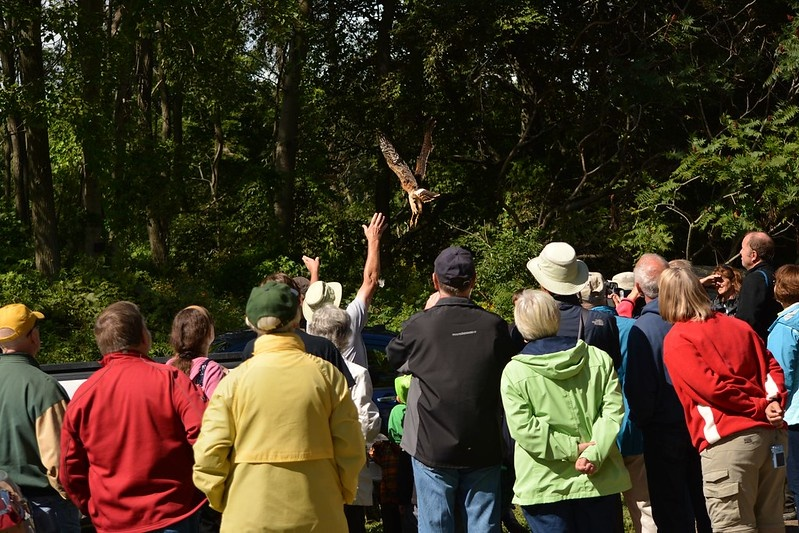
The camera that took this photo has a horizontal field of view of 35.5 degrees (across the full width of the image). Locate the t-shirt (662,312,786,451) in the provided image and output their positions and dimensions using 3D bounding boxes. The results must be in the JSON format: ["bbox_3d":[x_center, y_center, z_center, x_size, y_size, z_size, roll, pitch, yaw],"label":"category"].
[{"bbox_3d":[4.438,1.429,17.015,1.628,1.847,1.162,-2,-19,-27],"label":"t-shirt"}]

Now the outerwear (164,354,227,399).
[{"bbox_3d":[-2.774,1.484,16.765,0.929,0.855,0.504,-2,-8,0],"label":"outerwear"}]

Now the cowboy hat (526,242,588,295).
[{"bbox_3d":[2.220,-0.076,17.360,0.891,0.421,1.000,-7,31,-10],"label":"cowboy hat"}]

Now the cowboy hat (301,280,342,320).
[{"bbox_3d":[-1.106,0.460,17.782,0.535,0.202,0.554,15,23,-35],"label":"cowboy hat"}]

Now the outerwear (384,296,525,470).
[{"bbox_3d":[0.769,1.540,17.187,1.904,2.173,1.476,0,5,-13],"label":"outerwear"}]

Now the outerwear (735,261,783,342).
[{"bbox_3d":[5.430,0.453,18.925,0.493,1.235,1.366,16,27,24],"label":"outerwear"}]

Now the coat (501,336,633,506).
[{"bbox_3d":[2.137,2.040,16.382,1.896,2.155,1.188,-10,8,0],"label":"coat"}]
